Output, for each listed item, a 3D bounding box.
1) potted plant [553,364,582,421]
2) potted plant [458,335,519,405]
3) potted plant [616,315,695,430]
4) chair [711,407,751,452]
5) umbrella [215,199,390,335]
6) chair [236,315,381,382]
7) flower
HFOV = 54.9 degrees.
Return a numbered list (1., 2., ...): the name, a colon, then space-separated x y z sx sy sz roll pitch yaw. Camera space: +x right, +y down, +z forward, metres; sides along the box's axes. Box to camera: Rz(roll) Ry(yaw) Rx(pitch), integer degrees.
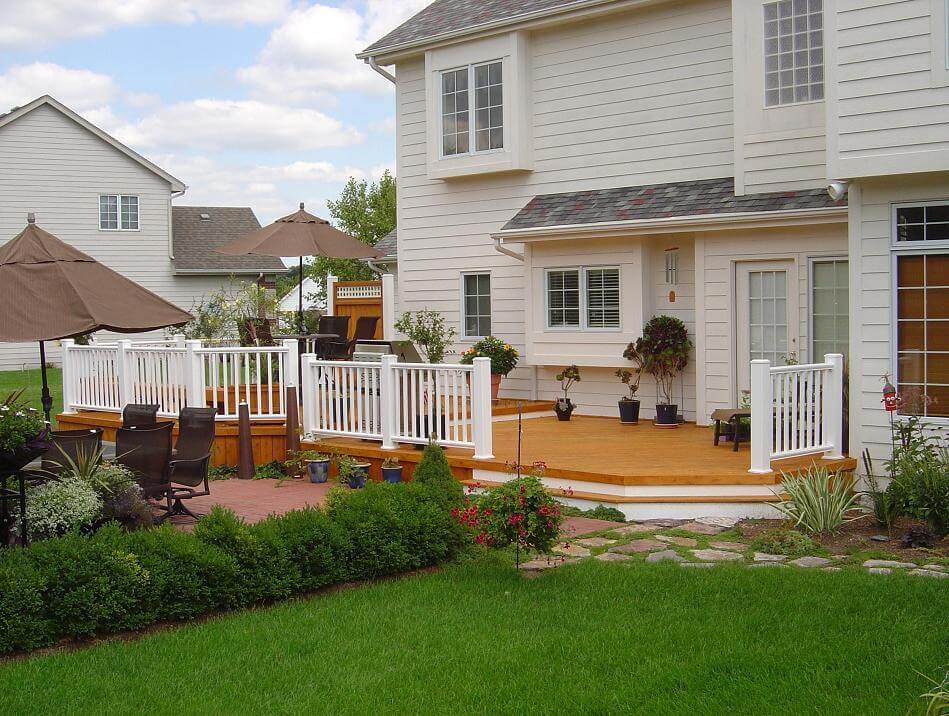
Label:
1. potted plant: 1.528 0.586 15.134 0.462 0.951 0.436 5 8 -15
2. potted plant: 0.199 0.238 16.081 1.062 1.117 1.019 -2 3 -37
3. potted plant: 2.835 0.213 14.380 1.080 1.684 0.717 6 11 38
4. chair: 3.365 0.901 12.046 0.468 0.325 0.652 -1 -1 36
5. umbrella: -2.728 -1.667 14.073 2.181 1.367 1.531 -4 9 -15
6. chair: -2.778 -0.168 15.802 1.777 1.221 1.070 3 4 38
7. flower: 0.351 1.384 8.326 0.787 0.603 0.769 -14 -20 3
